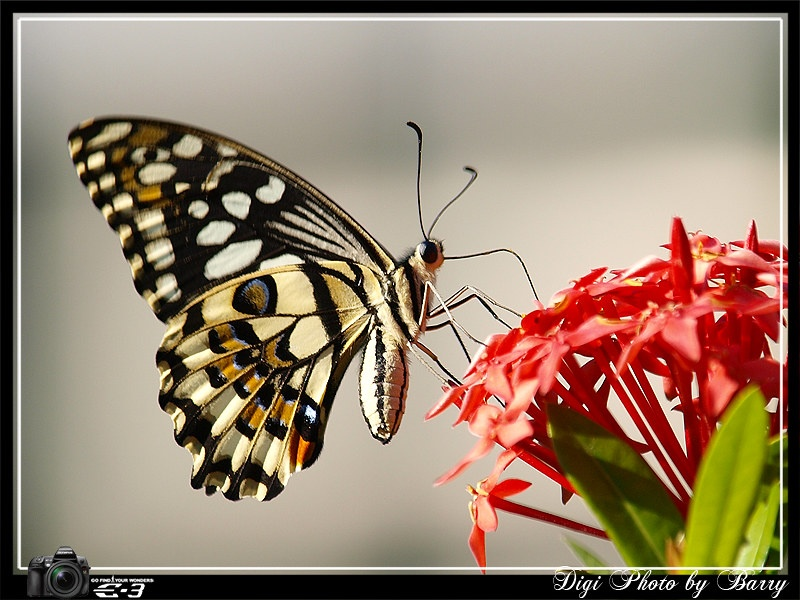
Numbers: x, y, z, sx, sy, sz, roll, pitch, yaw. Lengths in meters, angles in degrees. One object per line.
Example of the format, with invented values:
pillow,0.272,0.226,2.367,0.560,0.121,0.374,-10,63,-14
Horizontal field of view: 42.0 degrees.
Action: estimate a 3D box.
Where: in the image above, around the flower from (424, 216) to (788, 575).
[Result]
flower,0.370,0.182,2.044,0.651,0.497,0.680,-12,-22,-40
